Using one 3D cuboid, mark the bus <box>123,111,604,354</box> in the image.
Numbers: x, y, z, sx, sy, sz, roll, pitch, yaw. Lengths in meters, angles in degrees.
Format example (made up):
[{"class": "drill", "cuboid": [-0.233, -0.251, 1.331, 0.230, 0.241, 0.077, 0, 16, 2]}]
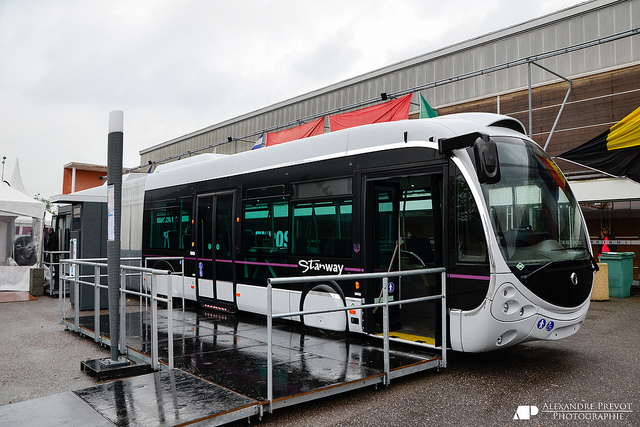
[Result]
[{"class": "bus", "cuboid": [-0.483, 0.371, 13.221, 3.547, 4.451, 14.858, 5, -5, -38]}]
